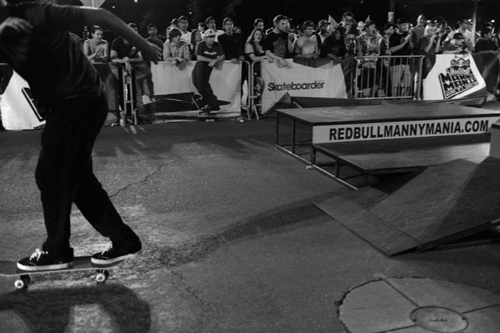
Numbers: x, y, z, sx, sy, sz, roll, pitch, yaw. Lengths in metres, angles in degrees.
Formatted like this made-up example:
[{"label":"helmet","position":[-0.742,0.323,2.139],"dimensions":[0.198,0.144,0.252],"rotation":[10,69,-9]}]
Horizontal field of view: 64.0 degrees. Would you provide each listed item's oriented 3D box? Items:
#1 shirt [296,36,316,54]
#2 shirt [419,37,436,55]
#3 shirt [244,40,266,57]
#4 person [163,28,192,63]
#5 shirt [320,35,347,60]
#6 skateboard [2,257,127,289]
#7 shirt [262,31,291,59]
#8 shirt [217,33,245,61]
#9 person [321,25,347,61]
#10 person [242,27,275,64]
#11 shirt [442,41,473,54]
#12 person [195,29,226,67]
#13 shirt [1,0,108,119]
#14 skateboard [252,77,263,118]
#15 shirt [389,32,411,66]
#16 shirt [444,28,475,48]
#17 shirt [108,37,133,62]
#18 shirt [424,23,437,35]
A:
[{"label":"shirt","position":[1.714,-3.708,12.249],"dimensions":[0.515,0.445,0.273],"rotation":[-7,19,-19]},{"label":"shirt","position":[6.199,-4.227,13.933],"dimensions":[0.396,0.551,1.159],"rotation":[13,22,36]},{"label":"shirt","position":[0.190,-3.484,11.777],"dimensions":[0.561,0.430,0.299],"rotation":[-5,14,-28]},{"label":"person","position":[-2.064,-3.312,11.570],"dimensions":[0.786,1.264,0.744],"rotation":[-2,22,-13]},{"label":"shirt","position":[2.594,-3.762,12.716],"dimensions":[0.765,0.888,0.861],"rotation":[-7,23,-25]},{"label":"skateboard","position":[-1.796,1.036,3.886],"dimensions":[1.226,0.192,0.322],"rotation":[0,9,-17]},{"label":"shirt","position":[0.948,-3.640,12.006],"dimensions":[1.107,0.849,0.384],"rotation":[-4,35,8]},{"label":"shirt","position":[-0.580,-3.561,11.930],"dimensions":[0.708,0.844,0.296],"rotation":[-6,11,-18]},{"label":"person","position":[2.640,-3.858,12.440],"dimensions":[0.750,1.037,1.309],"rotation":[0,17,2]},{"label":"person","position":[0.271,-3.418,11.870],"dimensions":[0.839,1.443,0.975],"rotation":[-5,11,-19]},{"label":"shirt","position":[7.098,-4.190,13.925],"dimensions":[0.630,0.301,0.759],"rotation":[-11,14,-33]},{"label":"person","position":[-1.085,-3.359,11.362],"dimensions":[0.828,1.004,0.643],"rotation":[-2,18,-3]},{"label":"shirt","position":[-1.747,-0.947,3.586],"dimensions":[0.805,1.003,0.273],"rotation":[-5,19,-13]},{"label":"skateboard","position":[0.271,-2.230,11.732],"dimensions":[0.276,0.774,0.078],"rotation":[10,21,31]},{"label":"shirt","position":[4.818,-3.869,12.901],"dimensions":[0.862,1.048,0.376],"rotation":[-1,-9,8]},{"label":"shirt","position":[7.694,-4.684,14.621],"dimensions":[1.003,0.364,0.738],"rotation":[0,21,5]},{"label":"shirt","position":[-3.526,-3.251,11.099],"dimensions":[0.616,0.625,0.893],"rotation":[-6,18,-17]},{"label":"shirt","position":[6.276,-4.831,13.977],"dimensions":[0.401,0.348,0.328],"rotation":[3,18,12]}]
